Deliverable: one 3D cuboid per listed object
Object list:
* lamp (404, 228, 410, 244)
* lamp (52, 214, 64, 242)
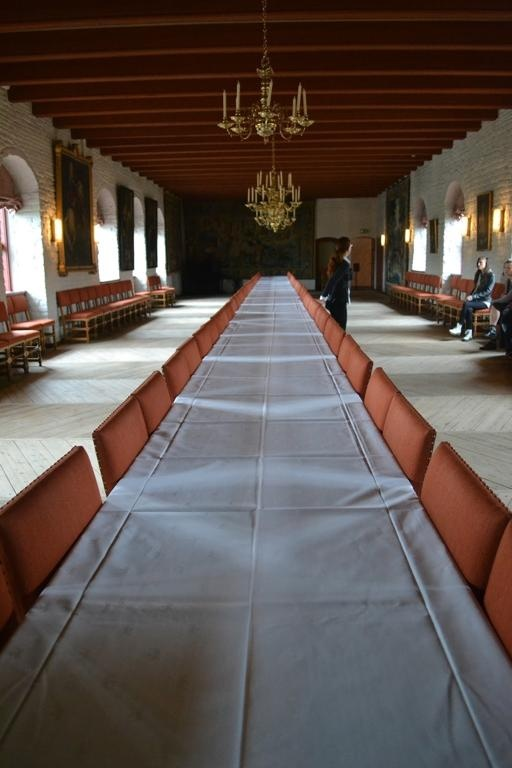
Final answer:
[{"bbox_3d":[4.709,-6.030,17.584,0.172,0.597,0.523,3,12,9],"label":"lamp"},{"bbox_3d":[-4.183,-3.676,10.275,0.174,0.599,0.110,-3,13,-16],"label":"lamp"}]
